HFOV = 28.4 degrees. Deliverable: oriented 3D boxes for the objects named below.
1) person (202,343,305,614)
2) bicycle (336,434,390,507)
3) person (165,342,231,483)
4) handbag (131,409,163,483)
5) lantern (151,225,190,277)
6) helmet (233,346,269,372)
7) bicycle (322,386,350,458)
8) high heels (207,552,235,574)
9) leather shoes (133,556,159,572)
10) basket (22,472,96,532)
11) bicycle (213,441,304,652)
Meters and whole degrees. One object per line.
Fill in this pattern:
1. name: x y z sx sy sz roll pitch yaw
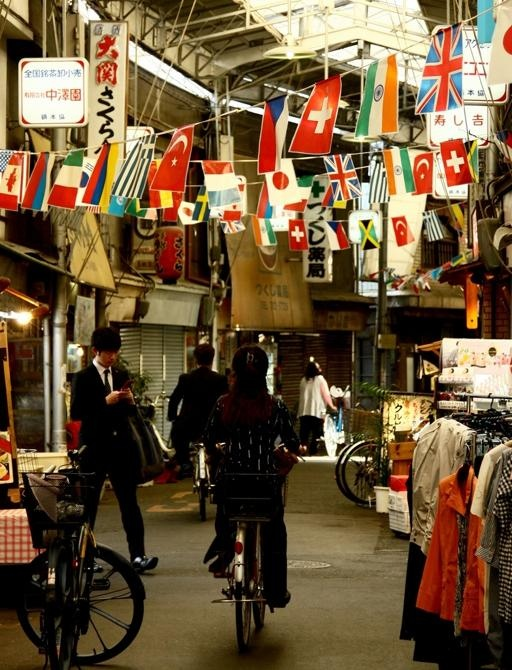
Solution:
1. person: -0.019 0.835 6.235 0.539 1.685 0.549 2 14 10
2. bicycle: 1.311 1.701 12.630 0.587 0.879 1.151 1 -2 5
3. person: -0.662 0.912 11.048 0.543 1.743 0.547 6 10 -2
4. handbag: -0.873 0.868 8.336 0.282 0.613 0.230 -11 -6 19
5. lantern: -1.608 -1.570 19.022 0.529 1.035 0.623 2 -2 -17
6. helmet: -0.021 0.145 6.114 0.133 0.189 0.186 3 6 25
7. bicycle: 1.844 2.032 23.384 0.826 1.419 2.220 -3 1 7
8. high heels: -0.213 1.391 6.218 0.082 0.110 0.246 2 5 6
9. leather shoes: -0.813 1.766 7.805 0.264 0.103 0.198 -18 -17 35
10. basket: -0.935 0.796 4.823 0.360 0.291 0.255 2 -2 -20
11. bicycle: 0.007 1.235 5.994 0.471 1.160 0.929 1 -2 2
